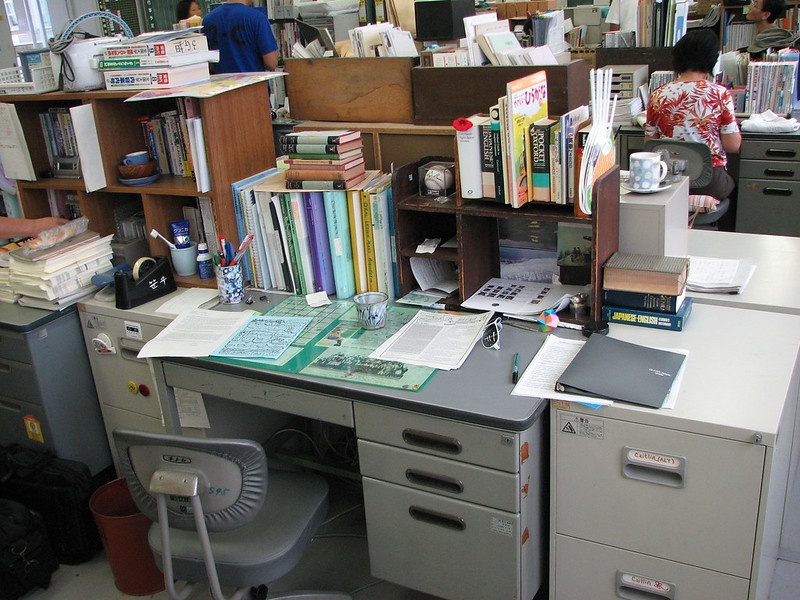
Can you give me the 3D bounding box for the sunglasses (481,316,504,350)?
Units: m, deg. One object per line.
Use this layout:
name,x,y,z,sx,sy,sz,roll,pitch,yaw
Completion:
sunglasses,0.302,0.110,2.028,0.062,0.064,0.121,1,22,14

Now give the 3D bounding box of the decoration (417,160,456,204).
decoration,0.157,-0.439,2.297,0.148,0.139,0.145,5,19,21

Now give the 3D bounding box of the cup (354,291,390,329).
cup,-0.099,0.042,2.201,0.123,0.094,0.123,-2,14,0

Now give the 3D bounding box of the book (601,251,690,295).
book,0.814,-0.090,2.033,0.247,0.104,0.158,5,23,25

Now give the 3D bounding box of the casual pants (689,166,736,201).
casual pants,1.892,-0.706,3.752,0.265,0.246,0.080,3,7,21

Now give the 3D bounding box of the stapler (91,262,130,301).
stapler,-1.237,-0.083,2.582,0.096,0.067,0.172,26,42,25

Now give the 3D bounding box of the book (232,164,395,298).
book,-0.277,-0.273,2.592,0.811,0.602,0.475,7,23,19

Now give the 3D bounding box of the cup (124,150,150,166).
cup,-1.123,-0.599,2.614,0.069,0.063,0.091,22,30,35
